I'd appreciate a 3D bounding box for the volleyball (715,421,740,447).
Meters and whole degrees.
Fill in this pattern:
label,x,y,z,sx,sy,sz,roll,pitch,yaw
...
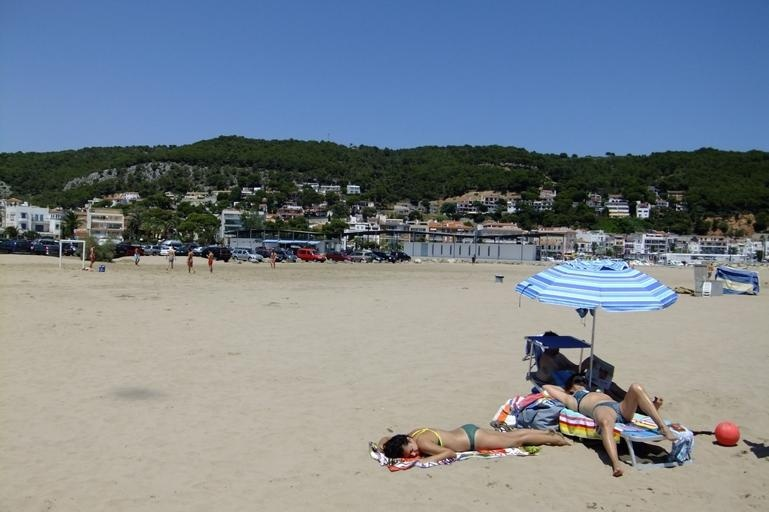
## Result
label,x,y,z,sx,sy,sz,roll,pitch,yaw
volleyball,6.650,3.403,19.431,0.467,0.392,0.438,-3,6,-2

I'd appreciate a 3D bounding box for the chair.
label,x,y,z,sx,sy,sz,roll,pitch,yaw
chair,3.868,2.923,19.429,2.329,1.183,3.144,-2,4,-23

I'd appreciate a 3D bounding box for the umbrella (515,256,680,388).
label,x,y,z,sx,sy,sz,roll,pitch,yaw
umbrella,4.340,1.296,20.233,2.620,2.308,2.546,4,5,23
